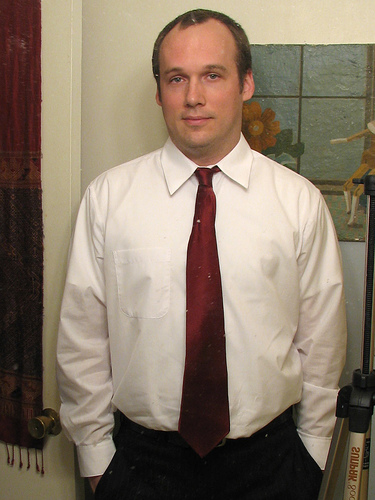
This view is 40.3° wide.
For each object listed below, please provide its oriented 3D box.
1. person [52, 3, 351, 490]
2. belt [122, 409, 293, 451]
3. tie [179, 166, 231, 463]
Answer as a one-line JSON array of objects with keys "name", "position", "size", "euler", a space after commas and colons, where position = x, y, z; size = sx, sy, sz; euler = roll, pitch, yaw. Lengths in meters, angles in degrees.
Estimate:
[{"name": "person", "position": [0.019, -0.001, 1.243], "size": [0.706, 1.150, 0.348], "euler": [1, 5, 16]}, {"name": "belt", "position": [0.023, 0.383, 1.147], "size": [0.163, 0.037, 0.156], "euler": [4, -27, -23]}, {"name": "tie", "position": [0.035, 0.119, 1.171], "size": [0.108, 0.635, 0.193], "euler": [0, 4, 0]}]
